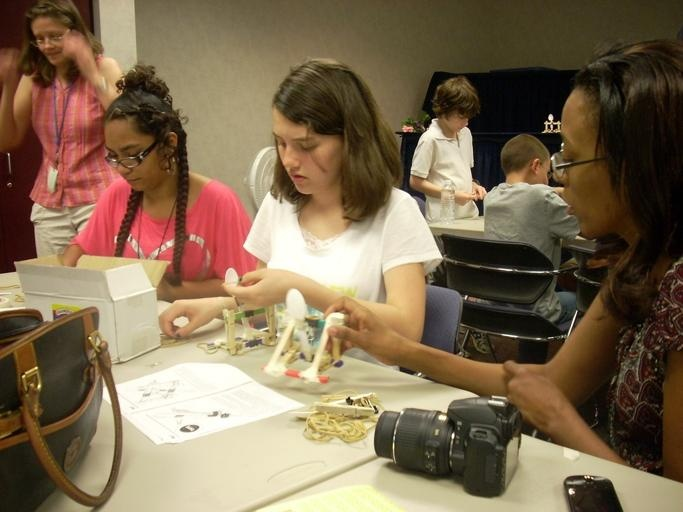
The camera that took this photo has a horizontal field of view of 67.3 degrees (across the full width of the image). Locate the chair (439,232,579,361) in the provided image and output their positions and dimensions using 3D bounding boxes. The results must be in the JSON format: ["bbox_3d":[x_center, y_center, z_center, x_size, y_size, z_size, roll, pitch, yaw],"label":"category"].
[{"bbox_3d":[0.897,0.185,2.737,0.634,0.887,0.586,11,17,40],"label":"chair"}]

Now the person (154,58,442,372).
[{"bbox_3d":[-0.234,-0.157,2.115,0.977,1.542,0.847,14,20,41],"label":"person"}]

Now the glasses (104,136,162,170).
[{"bbox_3d":[-0.833,-0.436,2.033,0.139,0.048,0.147,10,46,45],"label":"glasses"}]

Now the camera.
[{"bbox_3d":[0.217,0.327,1.045,0.248,0.164,0.160,5,10,33],"label":"camera"}]

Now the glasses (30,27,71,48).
[{"bbox_3d":[-1.465,-1.107,2.607,0.167,0.089,0.041,0,14,-4],"label":"glasses"}]
